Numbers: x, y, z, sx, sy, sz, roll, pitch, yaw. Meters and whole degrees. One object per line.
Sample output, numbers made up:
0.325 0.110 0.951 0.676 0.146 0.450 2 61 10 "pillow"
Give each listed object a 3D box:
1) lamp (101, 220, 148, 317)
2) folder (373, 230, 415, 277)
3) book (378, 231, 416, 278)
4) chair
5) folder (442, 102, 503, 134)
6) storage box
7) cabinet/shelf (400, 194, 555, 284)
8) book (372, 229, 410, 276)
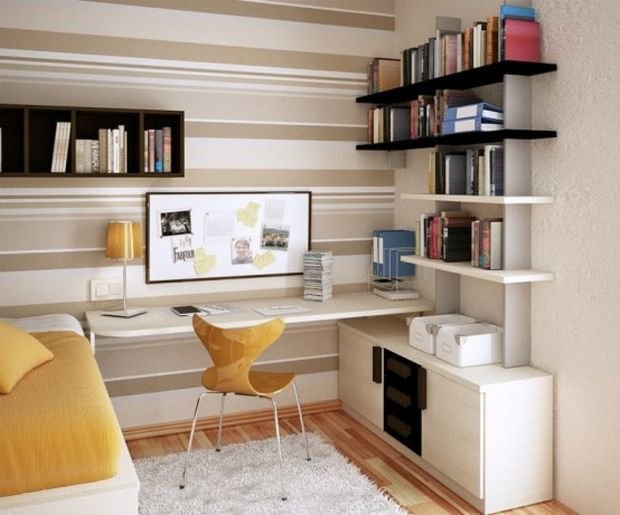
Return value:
-1.135 0.062 3.141 0.254 0.564 0.333 -2 6 -19 "lamp"
0.558 -0.039 3.777 0.293 0.448 0.320 0 3 -8 "folder"
0.577 -0.020 3.780 0.361 0.378 0.277 0 2 -7 "book"
-0.350 0.778 2.913 0.700 0.950 0.675 0 3 0 "chair"
0.838 -0.712 2.721 0.185 0.088 0.250 -2 2 -31 "folder"
0.858 0.459 2.829 0.240 0.128 0.346 -1 3 -22 "storage box"
0.928 -0.102 2.868 0.385 0.500 0.753 -2 6 -20 "cabinet/shelf"
0.585 -0.033 3.752 0.268 0.331 0.314 3 8 33 "book"
